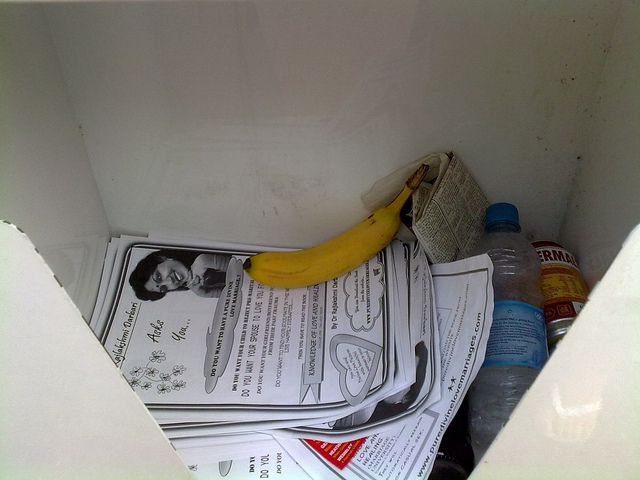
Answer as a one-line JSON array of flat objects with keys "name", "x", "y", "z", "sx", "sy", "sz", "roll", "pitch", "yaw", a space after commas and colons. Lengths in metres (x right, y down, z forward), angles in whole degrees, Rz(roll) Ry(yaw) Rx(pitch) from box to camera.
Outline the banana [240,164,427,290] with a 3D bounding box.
[{"name": "banana", "x": 0.032, "y": -0.025, "z": 0.893, "sx": 0.278, "sy": 0.062, "sz": 0.128, "roll": -19, "pitch": -56, "yaw": -8}]

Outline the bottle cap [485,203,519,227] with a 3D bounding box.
[{"name": "bottle cap", "x": 0.300, "y": -0.047, "z": 0.873, "sx": 0.036, "sy": 0.023, "sz": 0.038, "roll": -13, "pitch": -43, "yaw": 32}]

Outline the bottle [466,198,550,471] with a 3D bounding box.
[{"name": "bottle", "x": 0.274, "y": 0.134, "z": 0.779, "sx": 0.096, "sy": 0.381, "sz": 0.096, "roll": 4, "pitch": -14, "yaw": 1}]
